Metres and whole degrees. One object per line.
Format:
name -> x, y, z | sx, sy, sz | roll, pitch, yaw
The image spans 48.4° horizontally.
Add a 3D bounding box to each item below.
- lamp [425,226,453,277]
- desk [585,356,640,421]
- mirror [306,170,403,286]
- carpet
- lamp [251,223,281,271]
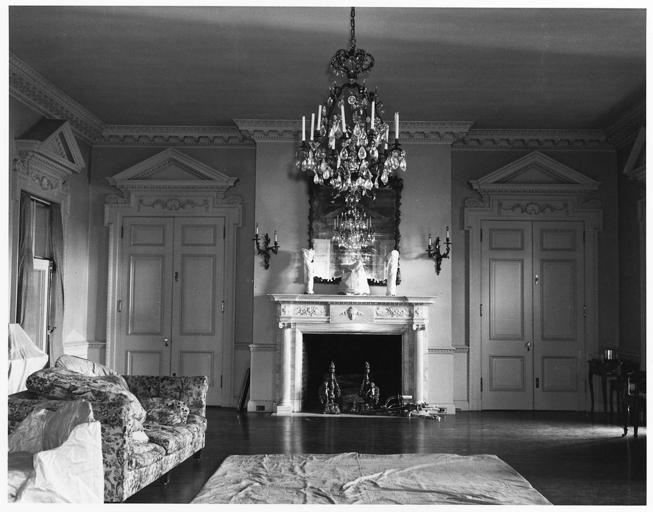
lamp -> 1.475, -0.073, 9.532 | 0.303, 0.649, 0.208 | 1, -8, 8
desk -> 3.547, 1.615, 9.361 | 0.458, 0.566, 0.453 | 0, -2, -6
mirror -> 0.370, -0.229, 9.619 | 1.177, 1.477, 0.040 | 2, -27, 11
carpet -> 0.393, 2.040, 6.667 | 2.930, 0.363, 1.184 | 2, -9, 1
lamp -> -0.778, -0.124, 9.585 | 0.340, 0.589, 0.132 | 3, -8, -4
